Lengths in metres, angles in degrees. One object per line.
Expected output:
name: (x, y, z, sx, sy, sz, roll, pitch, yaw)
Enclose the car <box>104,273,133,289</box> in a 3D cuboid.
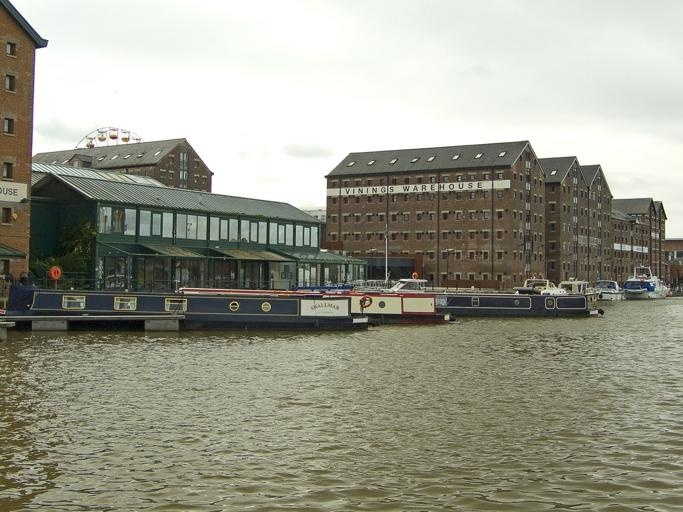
car: (-15.959, 1.827, 68.340, 1.886, 1.195, 1.158, 1, -5, -18)
